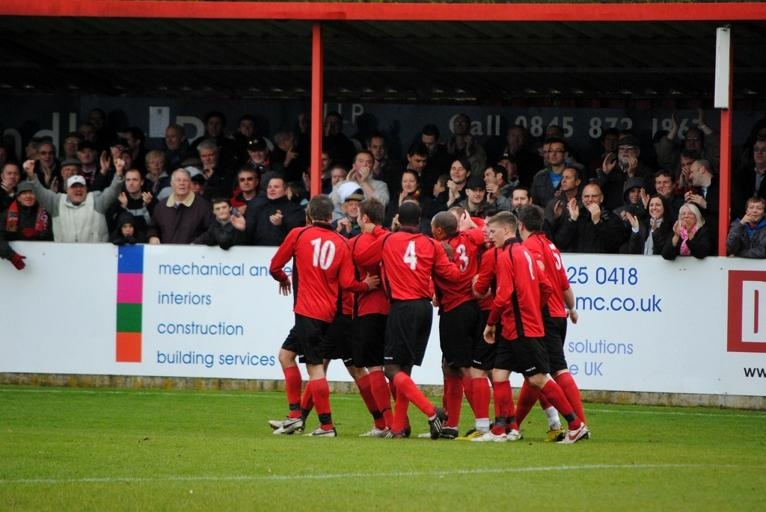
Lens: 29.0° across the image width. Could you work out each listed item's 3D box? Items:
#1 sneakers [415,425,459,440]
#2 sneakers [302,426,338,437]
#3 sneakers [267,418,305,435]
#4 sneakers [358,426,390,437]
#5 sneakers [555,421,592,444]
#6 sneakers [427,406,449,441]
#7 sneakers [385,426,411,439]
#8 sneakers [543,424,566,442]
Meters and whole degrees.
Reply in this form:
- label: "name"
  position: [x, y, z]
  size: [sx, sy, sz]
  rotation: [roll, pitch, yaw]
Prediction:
- label: "sneakers"
  position: [0.709, 2.369, 19.683]
  size: [0.537, 0.251, 0.201]
  rotation: [3, -4, -4]
- label: "sneakers"
  position: [-0.844, 2.312, 19.636]
  size: [0.426, 0.170, 0.151]
  rotation: [2, -4, 11]
- label: "sneakers"
  position: [-1.265, 2.251, 19.752]
  size: [0.513, 0.237, 0.196]
  rotation: [0, 11, 14]
- label: "sneakers"
  position: [-0.123, 2.345, 19.661]
  size: [0.389, 0.191, 0.149]
  rotation: [2, -10, 11]
- label: "sneakers"
  position: [2.503, 2.336, 19.452]
  size: [0.510, 0.249, 0.195]
  rotation: [-26, 2, 10]
- label: "sneakers"
  position: [0.703, 2.235, 19.489]
  size: [0.246, 0.502, 0.180]
  rotation: [-1, 31, 2]
- label: "sneakers"
  position: [0.191, 2.346, 19.607]
  size: [0.342, 0.156, 0.129]
  rotation: [3, -1, -14]
- label: "sneakers"
  position: [2.252, 2.363, 19.560]
  size: [0.317, 0.147, 0.120]
  rotation: [-2, -1, 2]
